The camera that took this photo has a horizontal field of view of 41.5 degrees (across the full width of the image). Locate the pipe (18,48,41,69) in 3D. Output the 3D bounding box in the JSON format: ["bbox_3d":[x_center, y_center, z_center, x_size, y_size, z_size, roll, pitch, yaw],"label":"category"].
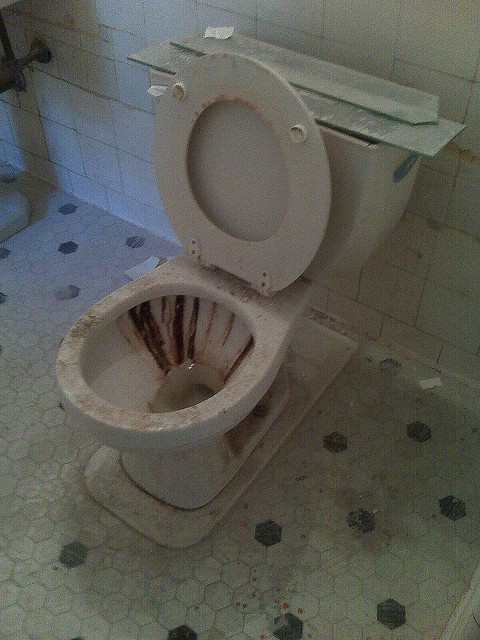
[{"bbox_3d":[-0.717,-0.874,2.124,0.067,0.065,0.090,-20,40,-28],"label":"pipe"}]

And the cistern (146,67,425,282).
[{"bbox_3d":[0.087,-0.292,1.245,0.384,0.348,0.253,29,53,14],"label":"cistern"}]

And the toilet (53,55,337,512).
[{"bbox_3d":[-0.076,-0.040,1.324,0.483,0.955,0.662,10,36,12],"label":"toilet"}]
